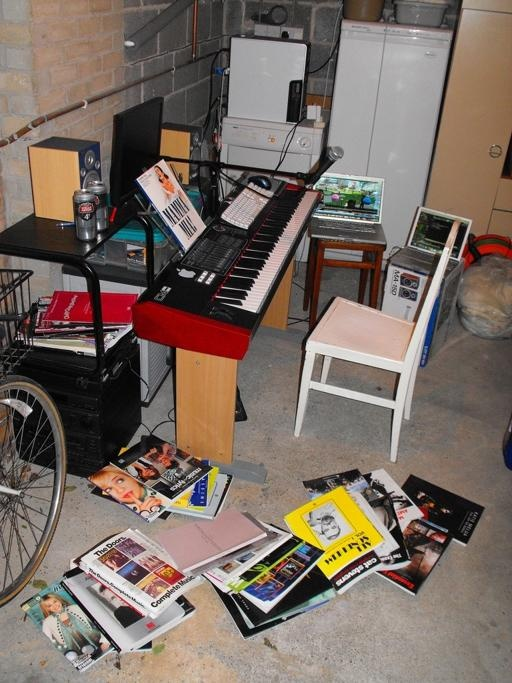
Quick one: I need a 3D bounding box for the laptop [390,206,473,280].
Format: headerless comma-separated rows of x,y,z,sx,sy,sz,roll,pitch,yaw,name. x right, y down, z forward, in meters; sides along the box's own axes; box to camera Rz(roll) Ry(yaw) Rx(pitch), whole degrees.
1.025,-0.627,3.181,0.472,0.453,0.330,16,72,17,laptop

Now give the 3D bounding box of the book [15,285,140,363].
-0.648,-0.065,1.918,0.304,0.068,0.279,9,38,5,book

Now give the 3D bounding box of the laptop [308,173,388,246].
0.511,-0.739,3.023,0.467,0.270,0.359,0,35,-4,laptop

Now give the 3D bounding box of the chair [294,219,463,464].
0.614,0.015,2.644,0.651,1.115,0.591,22,43,12,chair

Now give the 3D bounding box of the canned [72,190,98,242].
-0.532,-0.392,1.711,0.068,0.150,0.080,-3,30,-15,canned

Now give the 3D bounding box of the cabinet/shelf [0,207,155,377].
-0.625,-0.167,1.878,0.461,0.416,0.437,17,42,13,cabinet/shelf

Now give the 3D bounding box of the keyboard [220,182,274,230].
-0.033,-0.627,2.554,0.134,0.063,0.388,27,40,-6,keyboard
